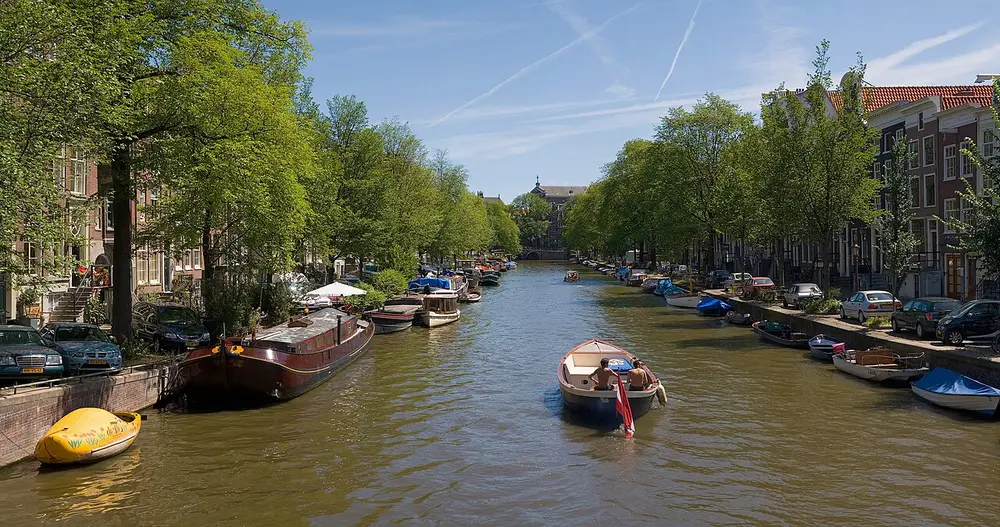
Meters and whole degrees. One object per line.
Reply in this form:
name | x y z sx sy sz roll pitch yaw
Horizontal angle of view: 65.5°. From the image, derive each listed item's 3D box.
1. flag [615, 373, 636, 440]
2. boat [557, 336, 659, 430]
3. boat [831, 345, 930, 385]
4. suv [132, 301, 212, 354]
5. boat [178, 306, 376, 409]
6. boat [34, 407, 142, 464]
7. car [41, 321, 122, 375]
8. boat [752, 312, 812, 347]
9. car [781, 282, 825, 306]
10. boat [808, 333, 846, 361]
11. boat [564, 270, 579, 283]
flag | 6.638 7.677 41.603 0.984 3.008 1.358 0 -2 9
boat | 5.912 6.717 45.165 5.432 2.277 9.544 -1 10 -2
boat | 23.271 6.259 47.353 5.137 2.023 2.354 -1 -3 29
suv | -22.067 4.001 51.401 7.384 2.258 3.295 10 10 44
boat | -13.630 5.327 49.810 7.096 4.123 14.800 5 7 10
boat | -20.683 8.595 38.678 4.211 2.619 1.109 2 -2 -34
car | -23.529 4.807 43.530 3.295 2.586 6.000 -1 0 -45
boat | 20.567 5.146 56.224 1.845 1.781 4.486 1 -3 -12
car | 25.044 2.656 64.171 2.432 1.896 3.543 1 -3 -12
boat | 21.730 5.624 51.484 1.927 1.085 4.215 -5 -1 12
boat | 10.165 2.019 112.905 1.709 1.183 2.601 -1 -8 4
